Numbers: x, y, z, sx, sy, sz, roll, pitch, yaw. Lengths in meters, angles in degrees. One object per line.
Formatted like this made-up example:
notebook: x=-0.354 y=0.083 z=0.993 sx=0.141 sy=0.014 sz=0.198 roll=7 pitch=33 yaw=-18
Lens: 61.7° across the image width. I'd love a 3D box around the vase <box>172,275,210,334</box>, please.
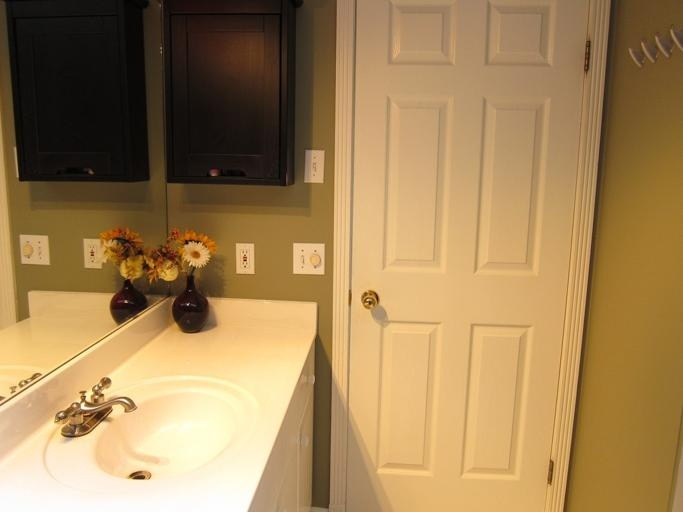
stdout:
vase: x=-0.644 y=0.218 z=2.430 sx=0.158 sy=0.255 sz=0.152 roll=-8 pitch=-12 yaw=40
